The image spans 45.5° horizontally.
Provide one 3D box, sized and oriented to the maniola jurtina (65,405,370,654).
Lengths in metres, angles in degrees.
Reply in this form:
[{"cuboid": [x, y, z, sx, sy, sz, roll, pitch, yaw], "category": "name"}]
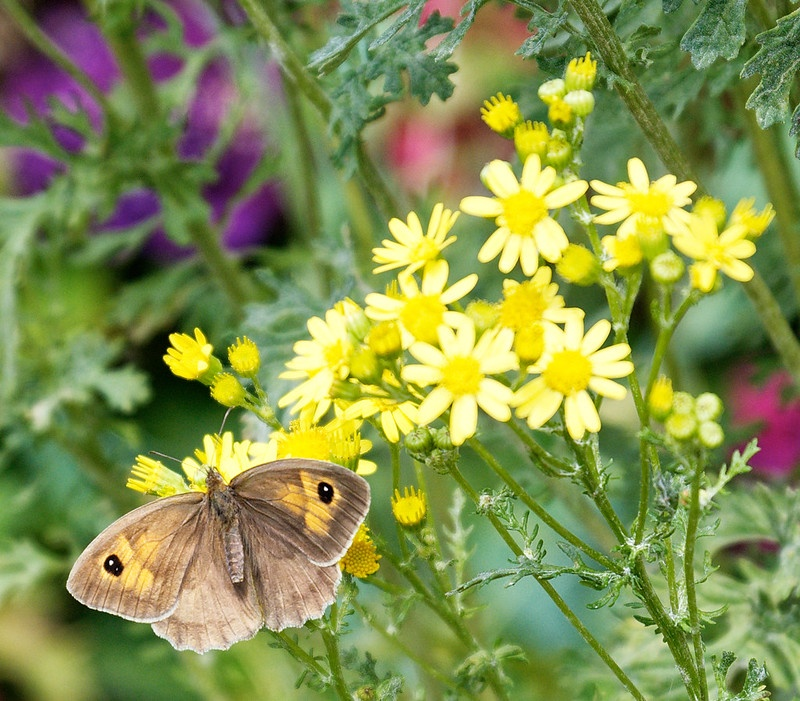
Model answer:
[{"cuboid": [-0.223, 0.258, 1.243, 0.402, 0.073, 0.255, -15, 70, -31], "category": "maniola jurtina"}]
